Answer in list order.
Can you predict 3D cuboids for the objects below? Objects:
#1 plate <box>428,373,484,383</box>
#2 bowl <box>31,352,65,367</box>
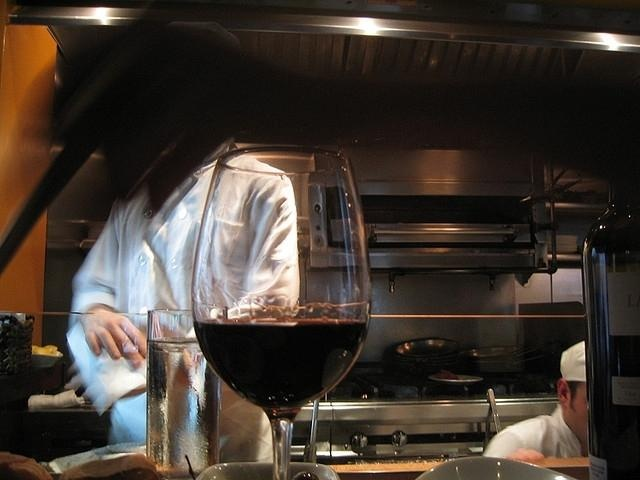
[{"bbox_3d":[0.542,0.550,2.624,0.210,0.044,0.206,-1,-12,11],"label":"plate"},{"bbox_3d":[-0.465,0.207,1.125,0.040,0.023,0.063,3,-12,-6],"label":"bowl"}]
